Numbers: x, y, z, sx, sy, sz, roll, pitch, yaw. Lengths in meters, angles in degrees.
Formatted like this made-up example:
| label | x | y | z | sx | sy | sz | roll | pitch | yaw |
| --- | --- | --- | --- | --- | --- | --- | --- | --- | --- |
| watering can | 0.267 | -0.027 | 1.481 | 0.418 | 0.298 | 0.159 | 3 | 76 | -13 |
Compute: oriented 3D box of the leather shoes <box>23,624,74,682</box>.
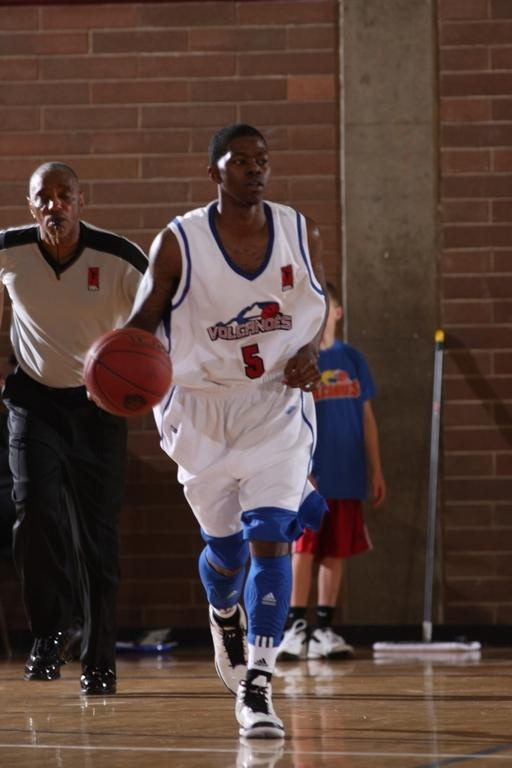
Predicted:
| label | x | y | z | sx | sy | sz | roll | pitch | yaw |
| --- | --- | --- | --- | --- | --- | --- | --- | --- | --- |
| leather shoes | -0.689 | 0.912 | 3.776 | 0.167 | 0.191 | 0.187 | 2 | 6 | 2 |

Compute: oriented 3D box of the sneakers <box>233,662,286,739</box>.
| label | x | y | z | sx | sy | sz | roll | pitch | yaw |
| --- | --- | --- | --- | --- | --- | --- | --- | --- | --- |
| sneakers | 0.007 | 0.760 | 2.665 | 0.107 | 0.138 | 0.188 | -1 | 3 | -4 |

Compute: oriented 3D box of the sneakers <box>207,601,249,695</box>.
| label | x | y | z | sx | sy | sz | roll | pitch | yaw |
| --- | --- | --- | --- | --- | --- | --- | --- | --- | --- |
| sneakers | -0.073 | 0.739 | 3.137 | 0.095 | 0.253 | 0.105 | -9 | 0 | -3 |

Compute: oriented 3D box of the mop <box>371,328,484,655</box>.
| label | x | y | z | sx | sy | sz | roll | pitch | yaw |
| --- | --- | --- | --- | --- | --- | --- | --- | --- | --- |
| mop | 0.696 | 0.393 | 4.514 | 0.377 | 1.450 | 0.295 | -1 | 5 | 5 |

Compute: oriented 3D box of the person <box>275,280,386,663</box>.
| label | x | y | z | sx | sy | sz | roll | pitch | yaw |
| --- | --- | --- | --- | --- | --- | --- | --- | --- | --- |
| person | 0.248 | 0.317 | 4.530 | 0.514 | 1.397 | 0.422 | 3 | -6 | -31 |

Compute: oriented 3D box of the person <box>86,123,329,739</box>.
| label | x | y | z | sx | sy | sz | roll | pitch | yaw |
| --- | --- | --- | --- | --- | --- | --- | --- | --- | --- |
| person | -0.065 | 0.114 | 2.976 | 0.559 | 1.511 | 0.958 | 0 | 4 | 13 |

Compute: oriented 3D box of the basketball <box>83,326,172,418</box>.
| label | x | y | z | sx | sy | sz | roll | pitch | yaw |
| --- | --- | --- | --- | --- | --- | --- | --- | --- | --- |
| basketball | -0.305 | -0.028 | 2.621 | 0.227 | 0.185 | 0.252 | 1 | 6 | -30 |
